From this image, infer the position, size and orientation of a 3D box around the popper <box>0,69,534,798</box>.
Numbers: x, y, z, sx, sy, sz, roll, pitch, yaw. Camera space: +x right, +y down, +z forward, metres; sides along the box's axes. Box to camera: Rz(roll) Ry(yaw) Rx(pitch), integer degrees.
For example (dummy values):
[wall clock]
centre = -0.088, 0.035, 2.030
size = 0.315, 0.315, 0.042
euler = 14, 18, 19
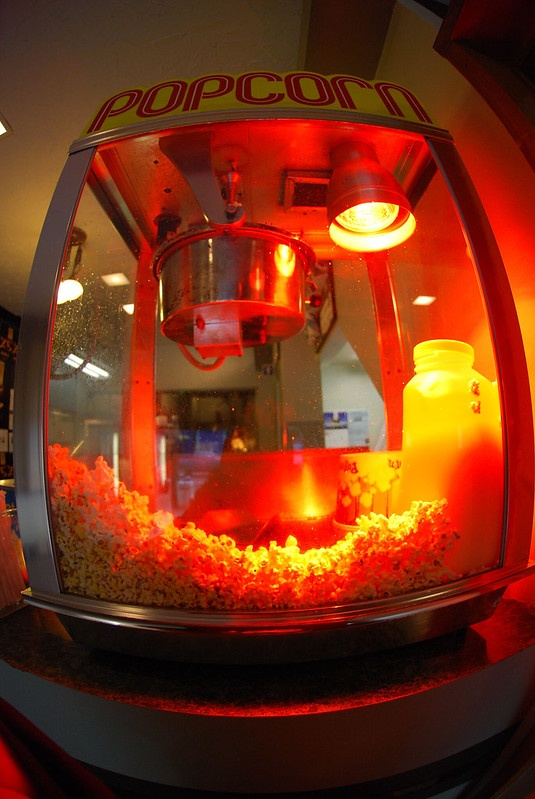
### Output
[popper]
centre = 0.012, -0.102, 0.742
size = 0.652, 0.700, 0.289
euler = -1, 6, 2
